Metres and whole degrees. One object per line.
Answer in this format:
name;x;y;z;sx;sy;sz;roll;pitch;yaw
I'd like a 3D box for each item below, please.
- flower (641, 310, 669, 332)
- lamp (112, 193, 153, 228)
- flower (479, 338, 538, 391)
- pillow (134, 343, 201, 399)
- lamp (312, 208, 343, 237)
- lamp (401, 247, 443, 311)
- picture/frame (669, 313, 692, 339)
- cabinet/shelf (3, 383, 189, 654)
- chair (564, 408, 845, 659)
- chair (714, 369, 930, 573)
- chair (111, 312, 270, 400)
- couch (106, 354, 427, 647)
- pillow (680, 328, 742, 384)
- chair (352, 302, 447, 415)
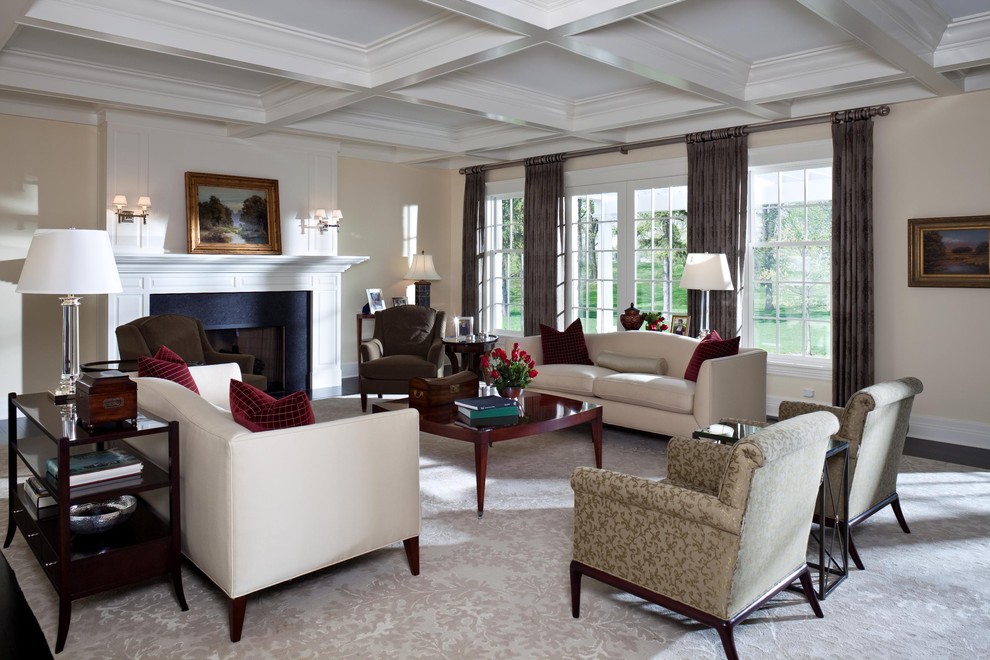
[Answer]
flower;1.901;-0.106;7.609;0.293;0.195;0.261;0;-1;45
lamp;-4.143;-1.373;7.224;0.399;0.349;0.324;-7;16;-27
flower;0.085;0.304;5.653;0.492;0.322;0.474;2;-3;-14
pillow;-2.464;0.297;4.694;0.202;0.363;0.309;-29;0;21
lamp;-2.299;-1.482;8.590;0.343;0.346;0.349;-3;15;-13
lamp;-1.126;-0.777;9.784;0.577;0.856;0.566;2;8;23
picture/frame;2.214;-0.044;7.562;0.359;0.420;0.058;0;2;-9
cabinet/shelf;-2.244;1.093;3.608;0.665;0.905;1.478;1;1;-36
chair;1.104;1.086;3.849;1.343;1.412;1.430;-1;2;-44
chair;2.420;0.912;4.497;1.009;1.120;0.949;-1;3;-31
chair;-3.107;0.441;6.578;1.226;1.174;1.189;-7;14;-39
couch;-1.420;0.780;4.172;1.281;1.320;2.273;-3;4;-40
pillow;2.147;0.273;6.317;0.283;0.531;0.450;33;2;-14
chair;-1.140;0.296;7.864;0.959;1.149;1.079;1;7;-1
